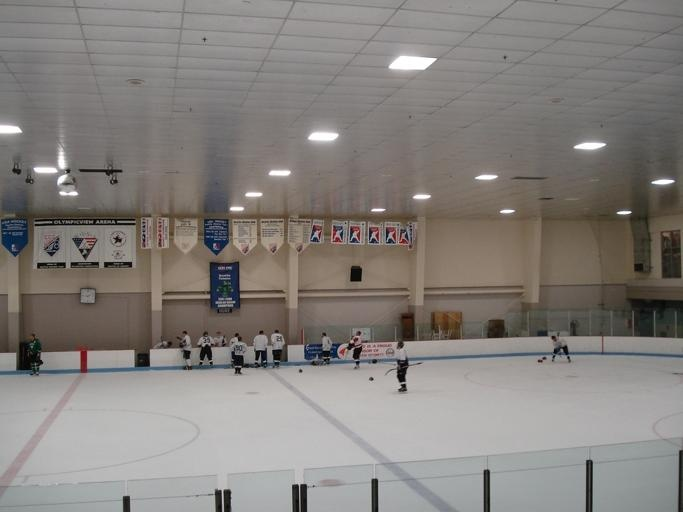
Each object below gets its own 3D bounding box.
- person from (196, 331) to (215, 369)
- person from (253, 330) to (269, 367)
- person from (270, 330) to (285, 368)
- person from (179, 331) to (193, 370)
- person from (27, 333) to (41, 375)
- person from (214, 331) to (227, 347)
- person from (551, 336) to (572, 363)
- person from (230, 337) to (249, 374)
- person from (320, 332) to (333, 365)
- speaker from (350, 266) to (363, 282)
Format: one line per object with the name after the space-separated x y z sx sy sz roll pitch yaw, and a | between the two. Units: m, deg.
-5.731 4.040 26.766 0.592 1.380 0.906 0 1 -12 | person
-3.424 4.011 26.858 0.506 1.519 0.874 0 1 -10 | person
-2.803 3.975 27.677 0.500 1.527 1.470 0 1 -6 | person
-6.507 3.995 26.531 0.442 1.608 0.931 0 1 -13 | person
-12.263 3.971 25.372 0.437 1.630 0.805 0 1 -27 | person
-5.516 3.803 28.688 0.492 0.782 0.338 4 7 25 | person
9.359 4.013 27.324 1.041 1.197 0.954 0 1 -15 | person
-4.135 4.044 25.453 0.510 1.443 0.740 0 1 -10 | person
-0.644 4.075 27.579 0.372 1.416 0.764 0 1 -5 | person
0.700 0.924 31.873 0.658 0.994 0.667 0 -2 -3 | speaker
